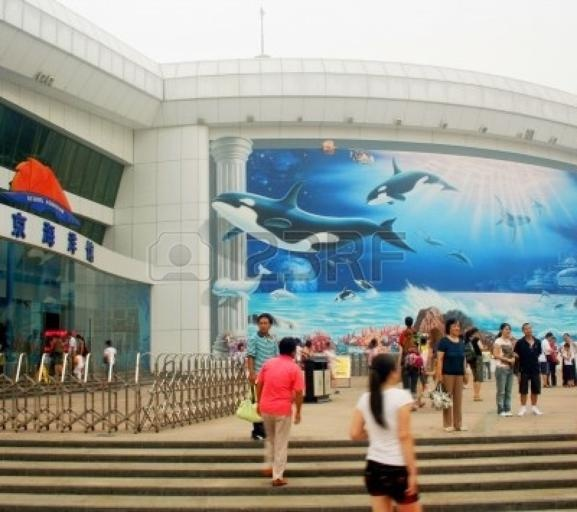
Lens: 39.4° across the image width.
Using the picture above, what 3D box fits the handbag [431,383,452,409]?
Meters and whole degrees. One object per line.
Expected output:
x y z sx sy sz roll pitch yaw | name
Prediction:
2.608 2.409 13.829 0.331 0.448 0.607 1 -11 -11 | handbag

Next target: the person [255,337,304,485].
-0.151 2.207 11.449 0.528 2.090 0.781 6 -12 -32 | person

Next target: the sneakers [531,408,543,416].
4.796 2.980 15.492 0.098 0.189 0.258 -1 -6 -39 | sneakers

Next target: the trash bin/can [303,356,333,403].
0.655 2.974 19.334 0.539 0.977 0.785 -3 -7 22 | trash bin/can

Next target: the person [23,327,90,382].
-6.154 2.564 20.924 0.932 1.420 1.374 -5 -7 42 | person

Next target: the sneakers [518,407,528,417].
4.517 2.982 15.432 0.142 0.205 0.467 -6 -12 18 | sneakers

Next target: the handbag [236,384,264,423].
-0.603 2.356 12.499 0.267 0.629 0.467 -12 -41 7 | handbag
